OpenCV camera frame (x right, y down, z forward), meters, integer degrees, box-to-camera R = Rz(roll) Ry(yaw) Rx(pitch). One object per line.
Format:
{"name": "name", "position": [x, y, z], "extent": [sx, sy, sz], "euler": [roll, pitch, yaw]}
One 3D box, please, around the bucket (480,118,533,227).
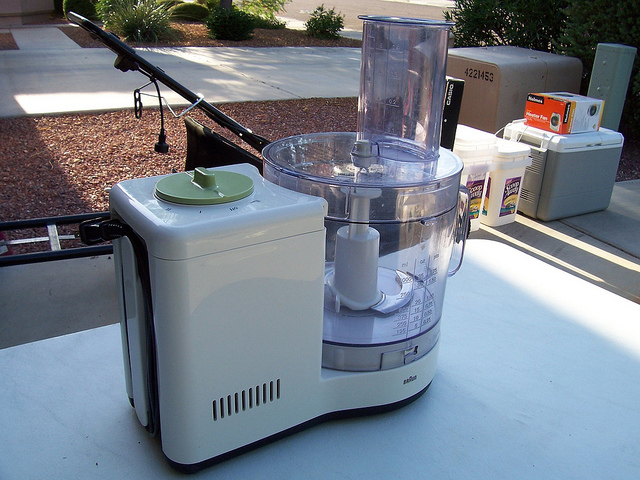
{"name": "bucket", "position": [1.318, -0.482, 4.070], "extent": [0.222, 0.750, 0.275], "euler": [-13, 29, -25]}

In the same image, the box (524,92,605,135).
{"name": "box", "position": [1.849, -0.964, 4.158], "extent": [0.531, 0.264, 0.341], "euler": [-8, 28, -18]}

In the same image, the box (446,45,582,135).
{"name": "box", "position": [1.908, -1.410, 5.684], "extent": [1.270, 1.012, 1.255], "euler": [-17, 31, -31]}

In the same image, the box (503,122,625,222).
{"name": "box", "position": [1.811, -0.512, 4.427], "extent": [0.824, 0.804, 0.544], "euler": [-11, 24, -20]}

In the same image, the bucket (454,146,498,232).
{"name": "bucket", "position": [0.995, -0.403, 3.997], "extent": [0.406, 0.629, 0.413], "euler": [-3, 14, 1]}
